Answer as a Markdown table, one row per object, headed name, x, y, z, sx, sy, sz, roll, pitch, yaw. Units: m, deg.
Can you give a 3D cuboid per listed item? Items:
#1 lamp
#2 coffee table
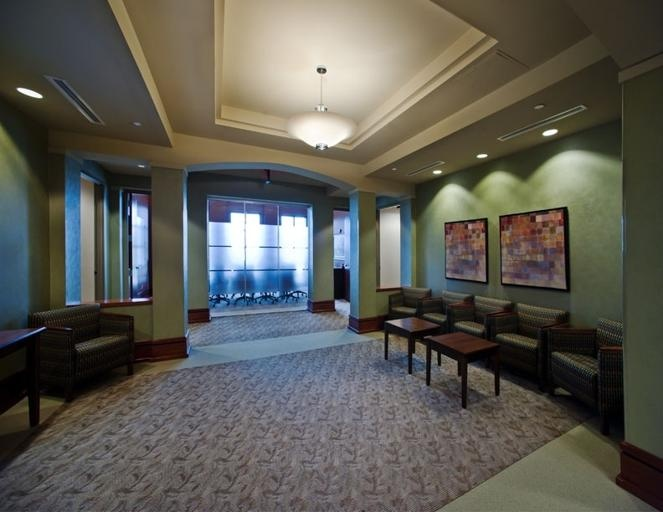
| name | x | y | z | sx | sy | sz | roll | pitch | yaw |
| --- | --- | --- | --- | --- | --- | --- | --- | --- | --- |
| lamp | -0.139 | -1.907 | 5.697 | 0.787 | 0.951 | 0.609 | -4 | 6 | -36 |
| coffee table | 1.196 | 1.213 | 6.468 | 0.689 | 0.732 | 0.704 | -1 | 1 | -30 |
